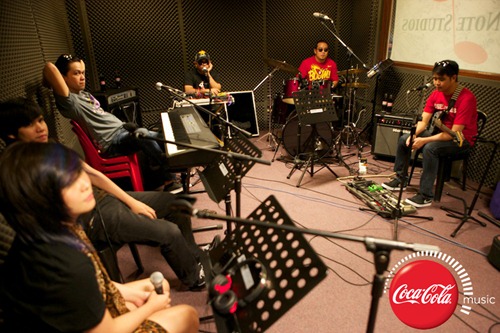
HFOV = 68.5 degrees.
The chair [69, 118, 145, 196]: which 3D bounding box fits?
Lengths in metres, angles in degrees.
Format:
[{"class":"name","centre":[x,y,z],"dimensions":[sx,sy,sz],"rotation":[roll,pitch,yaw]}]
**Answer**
[{"class":"chair","centre":[-1.890,-0.198,5.142],"dimensions":[0.942,1.253,0.819],"rotation":[-6,14,-16]}]

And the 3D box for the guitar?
[{"class":"guitar","centre":[2.518,-0.461,4.807],"dimensions":[0.337,0.142,0.541],"rotation":[-52,24,-5]}]

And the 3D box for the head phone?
[{"class":"head phone","centre":[-0.099,0.856,2.638],"dimensions":[0.444,0.326,0.288],"rotation":[-19,32,-25]}]

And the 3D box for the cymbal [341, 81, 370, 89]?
[{"class":"cymbal","centre":[1.907,-1.483,6.659],"dimensions":[0.356,0.109,0.365],"rotation":[17,33,29]}]

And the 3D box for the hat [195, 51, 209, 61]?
[{"class":"hat","centre":[-0.804,-1.849,6.128],"dimensions":[0.198,0.152,0.253],"rotation":[-12,30,-13]}]

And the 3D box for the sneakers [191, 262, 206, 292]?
[{"class":"sneakers","centre":[-0.522,1.110,3.679],"dimensions":[0.153,0.369,0.135],"rotation":[-4,6,3]}]

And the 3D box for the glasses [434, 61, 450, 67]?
[{"class":"glasses","centre":[2.446,-1.314,4.678],"dimensions":[0.079,0.060,0.167],"rotation":[-26,36,-34]}]

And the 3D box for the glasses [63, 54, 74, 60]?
[{"class":"glasses","centre":[-2.168,-1.321,4.405],"dimensions":[0.116,0.050,0.145],"rotation":[6,31,18]}]

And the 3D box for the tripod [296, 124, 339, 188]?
[{"class":"tripod","centre":[1.051,-0.162,5.836],"dimensions":[0.598,0.908,0.570],"rotation":[-16,39,-17]}]

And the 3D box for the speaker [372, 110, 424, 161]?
[{"class":"speaker","centre":[2.272,-0.473,5.601],"dimensions":[0.686,0.730,0.523],"rotation":[5,24,13]}]

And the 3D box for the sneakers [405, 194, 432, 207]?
[{"class":"sneakers","centre":[2.252,0.448,4.931],"dimensions":[0.312,0.137,0.166],"rotation":[2,10,2]}]
